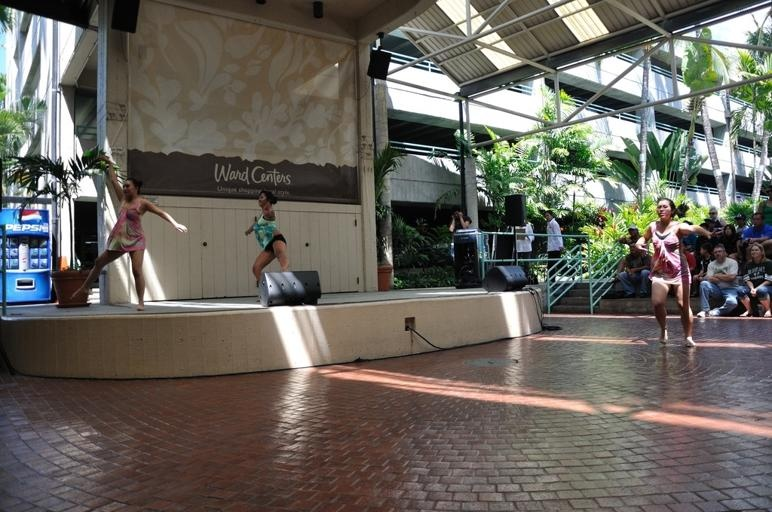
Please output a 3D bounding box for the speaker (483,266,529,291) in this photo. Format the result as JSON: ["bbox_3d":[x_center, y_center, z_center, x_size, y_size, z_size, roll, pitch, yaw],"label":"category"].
[{"bbox_3d":[2.262,0.426,9.853,0.668,0.441,0.504,1,0,-45],"label":"speaker"}]

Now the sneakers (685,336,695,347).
[{"bbox_3d":[4.489,1.259,7.606,0.101,0.129,0.184,-6,-14,4],"label":"sneakers"}]

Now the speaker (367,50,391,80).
[{"bbox_3d":[-0.170,-4.268,11.451,0.480,0.594,0.460,-2,4,-9],"label":"speaker"}]

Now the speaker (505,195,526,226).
[{"bbox_3d":[2.813,-0.984,11.207,0.384,0.703,0.275,-1,4,19],"label":"speaker"}]

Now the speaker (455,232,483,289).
[{"bbox_3d":[1.958,0.040,12.283,0.539,1.335,0.810,-2,4,-1],"label":"speaker"}]

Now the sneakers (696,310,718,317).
[{"bbox_3d":[6.817,1.233,10.927,0.446,0.201,0.157,1,-1,0],"label":"sneakers"}]

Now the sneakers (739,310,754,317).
[{"bbox_3d":[7.491,1.200,10.732,0.098,0.120,0.284,3,-1,-34],"label":"sneakers"}]
